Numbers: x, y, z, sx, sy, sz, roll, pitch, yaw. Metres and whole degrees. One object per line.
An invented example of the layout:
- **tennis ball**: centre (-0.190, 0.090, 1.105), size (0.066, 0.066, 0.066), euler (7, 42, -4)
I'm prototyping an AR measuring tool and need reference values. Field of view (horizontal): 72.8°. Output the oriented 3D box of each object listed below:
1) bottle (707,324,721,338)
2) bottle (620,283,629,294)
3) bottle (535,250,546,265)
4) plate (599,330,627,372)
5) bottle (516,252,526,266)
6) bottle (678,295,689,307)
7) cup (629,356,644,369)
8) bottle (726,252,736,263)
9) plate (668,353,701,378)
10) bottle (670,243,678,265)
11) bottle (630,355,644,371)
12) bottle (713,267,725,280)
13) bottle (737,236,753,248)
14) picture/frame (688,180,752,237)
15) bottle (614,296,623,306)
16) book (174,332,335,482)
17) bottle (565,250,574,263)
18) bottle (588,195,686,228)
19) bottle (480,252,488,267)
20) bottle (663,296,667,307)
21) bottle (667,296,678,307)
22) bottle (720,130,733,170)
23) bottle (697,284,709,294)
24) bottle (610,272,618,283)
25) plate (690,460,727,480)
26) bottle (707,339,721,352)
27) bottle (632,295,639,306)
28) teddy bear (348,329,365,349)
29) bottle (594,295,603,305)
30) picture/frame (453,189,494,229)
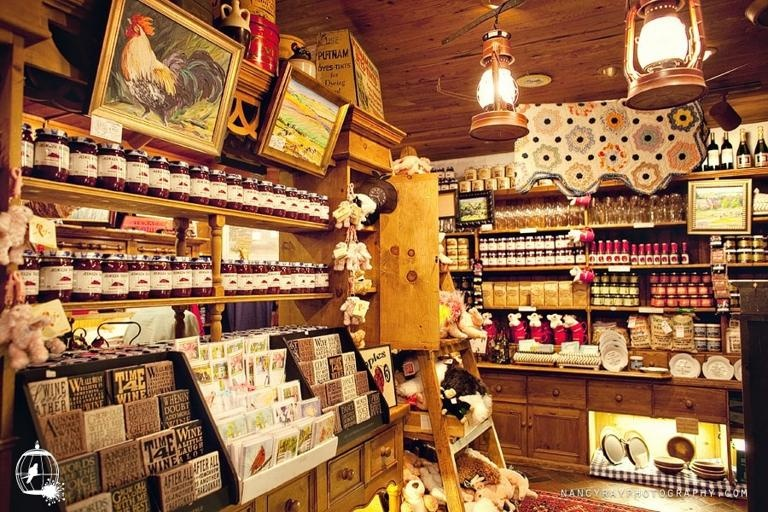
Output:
- **bottle**: centre (3.395, 0.777, 5.396), size (0.131, 0.139, 0.131), euler (0, -2, -1)
- **bottle**: centre (2.616, 0.378, 5.733), size (0.096, 0.104, 0.095), euler (-1, -2, 0)
- **bottle**: centre (1.815, 0.028, 6.104), size (0.140, 0.152, 0.137), euler (0, 0, -19)
- **plate**: centre (2.426, 1.016, 5.600), size (0.232, 0.414, 0.232), euler (0, -3, -27)
- **bottle**: centre (1.607, 0.046, 6.262), size (0.138, 0.149, 0.136), euler (0, -3, -1)
- **bottle**: centre (3.144, 0.484, 5.499), size (0.103, 0.093, 0.100), euler (-4, 5, -41)
- **cup**: centre (2.666, 1.144, 5.546), size (0.128, 0.130, 0.129), euler (0, 6, 0)
- **bottle**: centre (3.559, 0.029, 5.366), size (0.108, 0.101, 0.027), euler (-1, -3, -8)
- **plate**: centre (3.055, 1.121, 5.331), size (0.285, 0.234, 0.151), euler (-3, -3, 28)
- **bottle**: centre (3.143, -0.028, 5.682), size (0.095, 0.249, 0.335), euler (-3, -3, 30)
- **bottle**: centre (2.661, 1.139, 5.566), size (0.139, 0.142, 0.136), euler (-2, 4, -24)
- **bottle**: centre (3.421, 0.187, 5.354), size (0.148, 0.137, 0.102), euler (0, -10, 12)
- **bottle**: centre (3.675, -0.137, 5.329), size (0.113, 0.106, 0.115), euler (-2, -3, 29)
- **picture/frame**: centre (3.464, -0.485, 5.362), size (0.608, 0.596, 0.044), euler (0, -1, 20)
- **bottle**: centre (2.565, 0.498, 5.737), size (0.092, 0.099, 0.090), euler (-1, 1, -32)
- **book**: centre (-0.673, 0.771, 2.766), size (0.710, 0.288, 0.695), euler (-4, 2, -38)
- **bottle**: centre (2.106, 0.023, 5.965), size (0.131, 0.133, 0.129), euler (-1, -1, -10)
- **bottle**: centre (2.782, -0.499, 5.768), size (0.623, 0.206, 0.460), euler (-2, -2, 40)
- **bottle**: centre (1.209, 0.042, 6.461), size (0.135, 0.207, 0.143), euler (-1, -4, 0)
- **bottle**: centre (3.000, 0.492, 5.578), size (0.031, 0.080, 0.011), euler (-4, -3, 37)
- **bottle**: centre (3.040, 0.472, 5.585), size (0.158, 0.149, 0.088), euler (0, -3, 28)
- **bottle**: centre (3.591, -1.105, 5.498), size (0.128, 0.431, 0.202), euler (-3, -3, 33)
- **bottle**: centre (3.325, 0.351, 5.448), size (0.111, 0.103, 0.022), euler (-2, -3, 9)
- **bottle**: centre (2.531, 0.238, 5.846), size (0.142, 0.133, 0.079), euler (-1, -1, 18)
- **plate**: centre (3.166, 2.091, 5.101), size (0.308, 0.132, 0.252), euler (-2, -3, -1)
- **bottle**: centre (3.389, 0.921, 5.389), size (0.130, 0.119, 0.129), euler (-1, -1, 1)
- **bottle**: centre (2.718, 0.488, 5.688), size (0.119, 0.108, 0.060), euler (1, 0, 12)
- **teddy bear**: centre (-0.181, 0.604, 3.727), size (0.094, 0.135, 0.136), euler (-1, 5, 5)
- **bottle**: centre (2.372, 0.505, 5.836), size (0.086, 0.084, 0.091), euler (-1, 1, -16)
- **picture/frame**: centre (1.101, -0.567, 6.390), size (0.509, 0.496, 0.042), euler (0, -1, 28)
